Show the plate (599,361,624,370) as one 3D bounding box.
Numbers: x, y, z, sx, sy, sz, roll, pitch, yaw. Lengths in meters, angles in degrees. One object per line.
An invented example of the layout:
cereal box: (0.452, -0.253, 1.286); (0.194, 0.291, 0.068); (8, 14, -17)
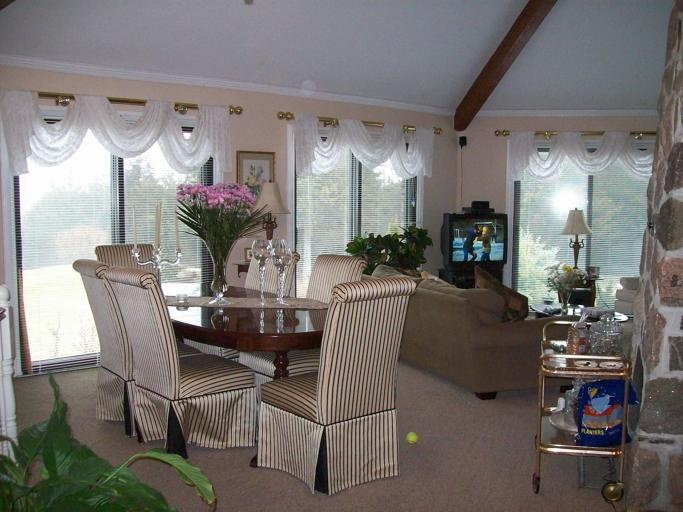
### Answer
plate: (1.406, 0.572, 2.758); (0.117, 0.028, 0.107); (3, 8, 19)

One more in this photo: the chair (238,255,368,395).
chair: (-0.361, 0.437, 4.388); (0.968, 1.440, 0.798); (2, -1, -29)

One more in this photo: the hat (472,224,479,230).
hat: (1.870, -0.406, 7.364); (0.057, 0.085, 0.063); (1, -1, 29)

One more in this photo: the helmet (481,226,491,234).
helmet: (2.021, -0.353, 7.399); (0.119, 0.176, 0.106); (0, 33, 13)

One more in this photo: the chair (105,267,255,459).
chair: (-1.046, 0.642, 3.567); (0.892, 1.233, 0.863); (-3, 8, -13)

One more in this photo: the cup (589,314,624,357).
cup: (1.469, 0.438, 2.954); (0.192, 0.231, 0.200); (-1, 0, 0)

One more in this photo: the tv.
tv: (1.894, -0.201, 7.617); (0.854, 0.821, 0.529); (0, -4, -11)

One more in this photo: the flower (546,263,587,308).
flower: (2.761, 0.365, 6.505); (0.502, 0.570, 0.514); (-1, 1, -6)

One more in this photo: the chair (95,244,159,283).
chair: (-1.600, 0.056, 3.915); (0.307, 0.504, 0.279); (2, 4, 44)

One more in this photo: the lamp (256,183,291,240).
lamp: (-0.788, -0.406, 5.797); (0.380, 0.752, 0.390); (-1, -1, 41)

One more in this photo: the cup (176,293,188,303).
cup: (-1.180, 0.313, 3.912); (0.060, 0.047, 0.064); (1, -5, 0)

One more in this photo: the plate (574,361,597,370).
plate: (1.288, 0.581, 2.792); (0.103, 0.024, 0.138); (4, 9, 25)
